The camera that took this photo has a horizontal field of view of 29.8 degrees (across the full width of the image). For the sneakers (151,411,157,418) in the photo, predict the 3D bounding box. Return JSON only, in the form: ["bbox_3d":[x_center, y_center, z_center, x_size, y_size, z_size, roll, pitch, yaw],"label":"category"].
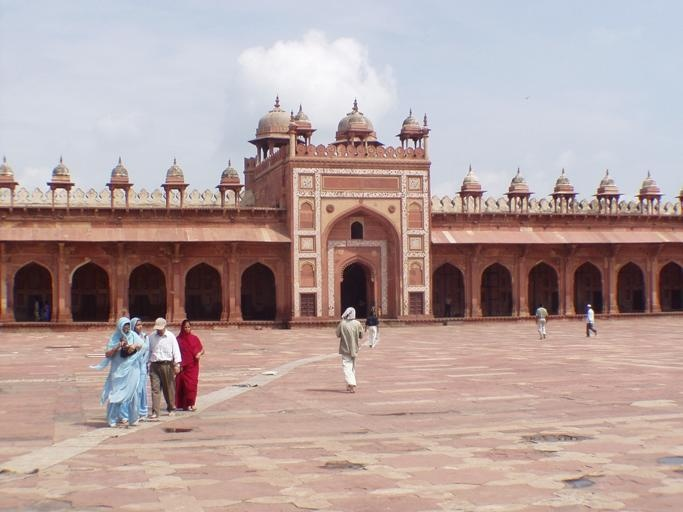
[{"bbox_3d":[-3.005,2.573,20.654,0.122,0.060,0.111,1,34,-6],"label":"sneakers"}]

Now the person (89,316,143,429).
[{"bbox_3d":[-3.404,1.828,20.122,0.604,1.669,0.577,0,3,-9],"label":"person"}]

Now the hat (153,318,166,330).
[{"bbox_3d":[-2.962,1.128,21.025,0.178,0.123,0.247,6,5,-1],"label":"hat"}]
